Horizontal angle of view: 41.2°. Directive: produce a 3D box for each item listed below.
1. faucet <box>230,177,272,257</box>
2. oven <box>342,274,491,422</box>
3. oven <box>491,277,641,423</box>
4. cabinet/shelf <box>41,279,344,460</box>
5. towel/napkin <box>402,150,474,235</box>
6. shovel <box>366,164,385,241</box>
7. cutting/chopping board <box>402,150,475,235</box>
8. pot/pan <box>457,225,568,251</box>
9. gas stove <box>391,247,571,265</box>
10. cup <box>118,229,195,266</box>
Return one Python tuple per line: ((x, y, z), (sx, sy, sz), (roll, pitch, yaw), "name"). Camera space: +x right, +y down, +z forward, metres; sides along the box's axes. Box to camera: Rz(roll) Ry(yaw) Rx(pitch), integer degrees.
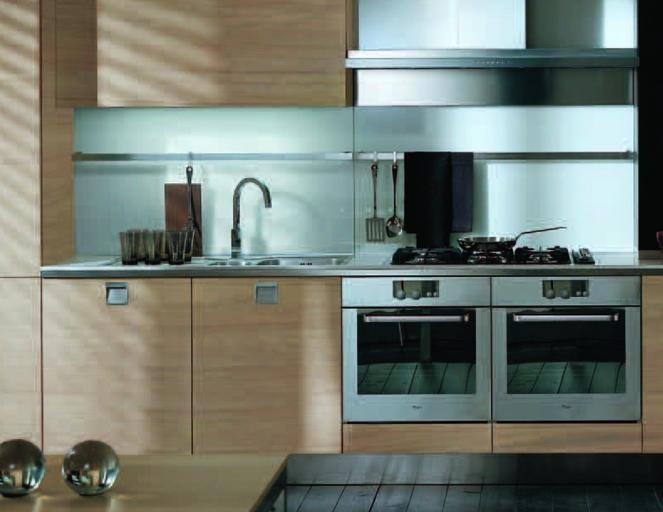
((-0.439, -0.211, 4.708), (0.213, 0.378, 0.290), (-3, 1, -7), "faucet")
((0.368, 0.479, 4.439), (0.981, 0.867, 0.631), (-1, -2, 3), "oven")
((1.225, 0.464, 4.266), (0.736, 0.671, 0.515), (-5, -12, 39), "oven")
((-0.550, 0.529, 4.523), (1.531, 0.848, 0.795), (-2, -1, 17), "cabinet/shelf")
((0.611, -0.326, 4.507), (0.423, 0.400, 0.099), (-1, 7, -7), "towel/napkin")
((0.234, -0.286, 4.769), (0.108, 0.417, 0.020), (-1, 0, 33), "shovel")
((0.613, -0.334, 4.511), (0.437, 0.395, 0.096), (0, 6, -8), "cutting/chopping board")
((0.879, -0.077, 4.413), (0.436, 0.064, 0.229), (-3, 1, -24), "pot/pan")
((0.714, 0.005, 4.274), (0.844, 0.062, 0.299), (-2, 1, 6), "gas stove")
((-0.848, -0.043, 4.270), (0.285, 0.119, 0.180), (-1, 1, -6), "cup")
